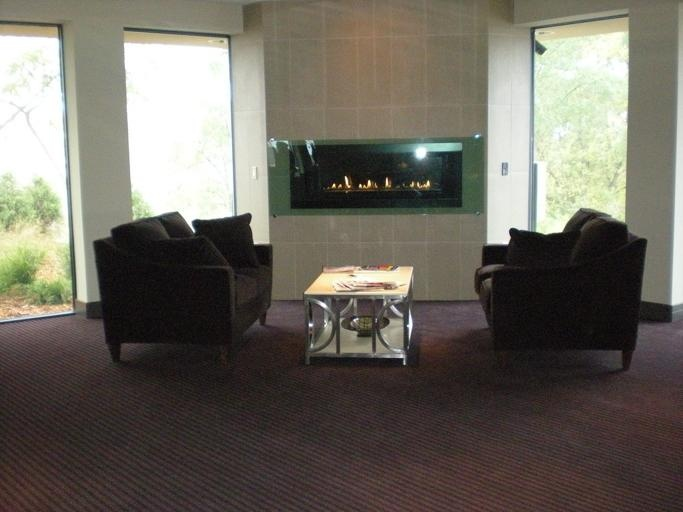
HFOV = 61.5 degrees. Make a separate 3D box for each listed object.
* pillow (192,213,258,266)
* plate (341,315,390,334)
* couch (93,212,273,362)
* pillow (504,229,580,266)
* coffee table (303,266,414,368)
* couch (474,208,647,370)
[{"bbox_3d":[-1.086,-0.156,5.531,0.504,0.516,0.253,0,-3,-15],"label":"pillow"},{"bbox_3d":[0.136,0.580,4.862,0.229,0.057,0.232,3,11,34],"label":"plate"},{"bbox_3d":[-1.279,0.208,5.140,1.089,1.141,1.613,0,11,8],"label":"couch"},{"bbox_3d":[1.656,-0.042,4.773,0.381,0.390,0.117,1,-12,13],"label":"pillow"},{"bbox_3d":[0.144,0.563,5.030,0.820,0.590,1.265,-1,2,2],"label":"coffee table"},{"bbox_3d":[1.894,0.161,5.026,1.102,1.016,1.920,-1,9,18],"label":"couch"}]
